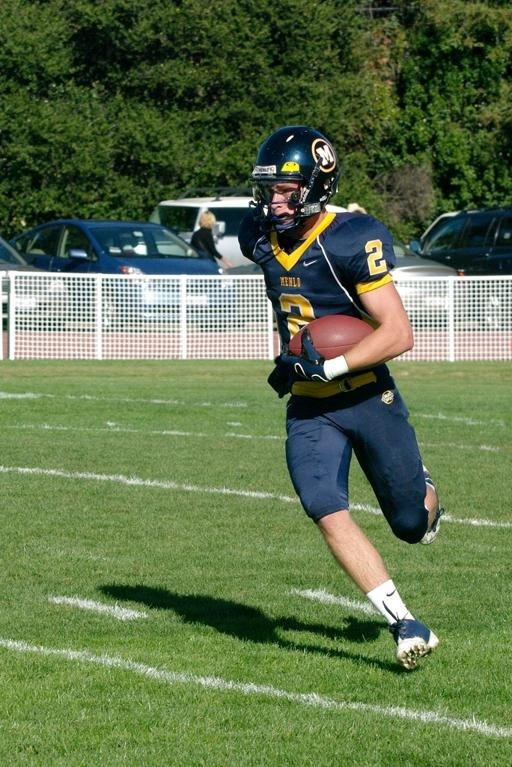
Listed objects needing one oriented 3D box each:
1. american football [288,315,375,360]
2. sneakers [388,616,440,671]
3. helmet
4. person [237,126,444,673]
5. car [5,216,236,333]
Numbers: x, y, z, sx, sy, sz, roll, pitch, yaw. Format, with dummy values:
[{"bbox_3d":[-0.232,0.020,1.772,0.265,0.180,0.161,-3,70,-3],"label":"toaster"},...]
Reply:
[{"bbox_3d":[0.240,-0.179,3.406,0.239,0.128,0.145,-15,-40,21],"label":"american football"},{"bbox_3d":[0.476,0.804,3.155,0.111,0.085,0.225,44,8,9],"label":"sneakers"},{"bbox_3d":[0.125,-0.785,3.708,0.398,0.347,0.290,-29,29,-37],"label":"helmet"},{"bbox_3d":[0.312,-0.037,3.481,0.602,1.833,0.960,1,6,-17],"label":"person"},{"bbox_3d":[-2.191,-1.855,15.725,1.983,1.302,3.365,-2,3,-44],"label":"car"}]
